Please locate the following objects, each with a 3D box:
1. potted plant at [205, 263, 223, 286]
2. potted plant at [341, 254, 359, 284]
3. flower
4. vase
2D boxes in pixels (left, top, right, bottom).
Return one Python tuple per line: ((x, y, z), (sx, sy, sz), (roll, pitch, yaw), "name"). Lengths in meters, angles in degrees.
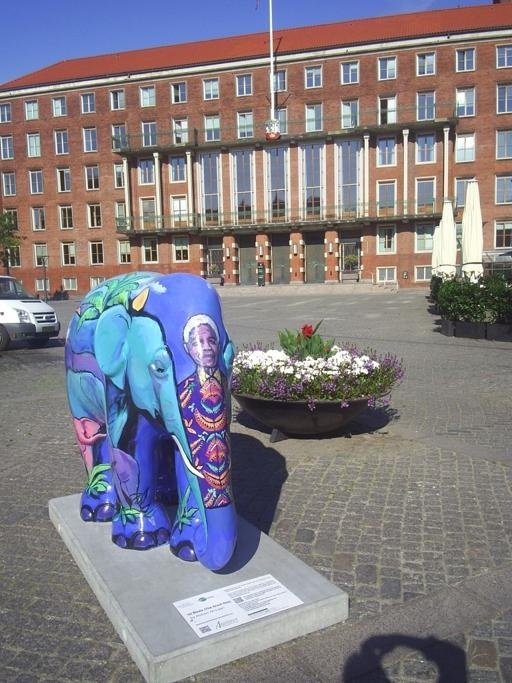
((-2.858, -4.651, 47.671), (1.218, 1.390, 1.862), (-6, 8, -11), "potted plant")
((6.000, -4.740, 44.458), (1.235, 1.598, 1.577), (-4, 8, 7), "potted plant")
((0.490, 0.288, 6.576), (1.625, 0.804, 1.585), (-8, 11, -19), "flower")
((0.485, 0.676, 6.181), (1.213, 0.521, 0.911), (-6, 8, -17), "vase")
